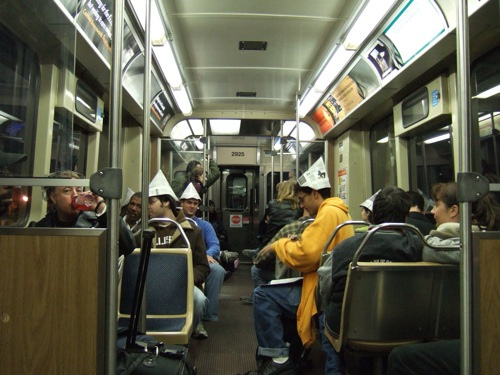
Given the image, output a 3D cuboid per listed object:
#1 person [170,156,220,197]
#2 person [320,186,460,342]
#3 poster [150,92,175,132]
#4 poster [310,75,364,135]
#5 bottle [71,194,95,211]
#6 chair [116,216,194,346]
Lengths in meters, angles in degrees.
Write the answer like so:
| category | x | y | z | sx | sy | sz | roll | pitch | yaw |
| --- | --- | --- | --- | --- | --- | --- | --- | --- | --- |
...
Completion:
| category | x | y | z | sx | sy | sz | roll | pitch | yaw |
| --- | --- | --- | --- | --- | --- | --- | --- | --- | --- |
| person | -1.355 | -0.176 | 8.617 | 0.752 | 0.788 | 0.252 | 8 | 14 | -25 |
| person | 1.019 | 0.551 | 3.061 | 0.868 | 1.152 | 0.623 | 2 | -6 | -1 |
| poster | -1.894 | -1.521 | 8.251 | 0.021 | 0.614 | 2.573 | 11 | 0 | -23 |
| poster | 1.430 | -1.469 | 7.402 | 1.729 | 0.460 | 0.240 | -38 | 10 | -32 |
| bottle | -0.949 | 0.083 | 2.306 | 0.057 | 0.092 | 0.122 | -4 | -8 | 44 |
| chair | -0.834 | 0.789 | 3.695 | 0.624 | 1.015 | 0.944 | 3 | -6 | -11 |
